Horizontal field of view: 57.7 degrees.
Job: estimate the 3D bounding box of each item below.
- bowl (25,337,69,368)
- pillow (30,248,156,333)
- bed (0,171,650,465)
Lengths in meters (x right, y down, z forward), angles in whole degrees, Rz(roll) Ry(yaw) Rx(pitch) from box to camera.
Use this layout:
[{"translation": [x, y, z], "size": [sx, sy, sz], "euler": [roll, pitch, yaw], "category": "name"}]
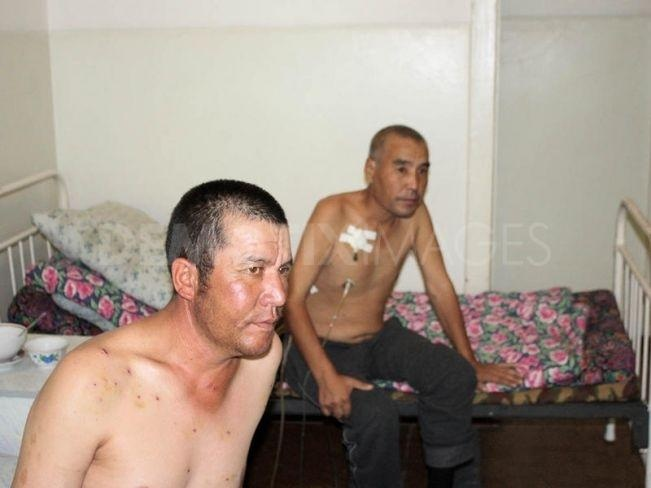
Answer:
[{"translation": [-0.928, 0.353, 1.971], "size": [0.107, 0.058, 0.113], "euler": [2, 17, -1], "category": "bowl"}, {"translation": [-0.894, 0.165, 2.290], "size": [0.422, 0.115, 0.263], "euler": [36, 23, -4], "category": "pillow"}, {"translation": [0.091, 0.460, 2.669], "size": [2.027, 1.194, 0.917], "euler": [-2, -26, 3], "category": "bed"}]
